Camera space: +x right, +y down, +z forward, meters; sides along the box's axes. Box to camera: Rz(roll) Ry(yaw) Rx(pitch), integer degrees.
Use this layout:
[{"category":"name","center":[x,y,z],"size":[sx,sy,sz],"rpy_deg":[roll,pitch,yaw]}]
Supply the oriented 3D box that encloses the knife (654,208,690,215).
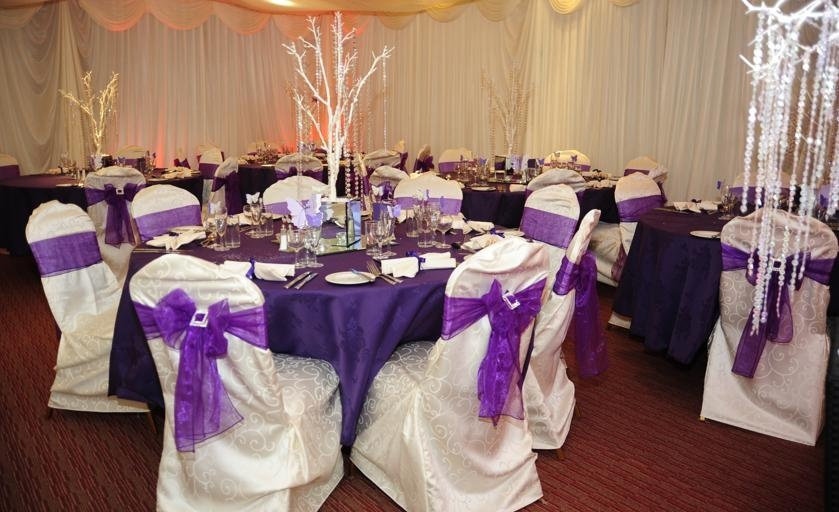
[{"category":"knife","center":[2.227,-0.402,5.002],"size":[0.482,0.045,0.068],"rpy_deg":[0,-1,-34]}]
